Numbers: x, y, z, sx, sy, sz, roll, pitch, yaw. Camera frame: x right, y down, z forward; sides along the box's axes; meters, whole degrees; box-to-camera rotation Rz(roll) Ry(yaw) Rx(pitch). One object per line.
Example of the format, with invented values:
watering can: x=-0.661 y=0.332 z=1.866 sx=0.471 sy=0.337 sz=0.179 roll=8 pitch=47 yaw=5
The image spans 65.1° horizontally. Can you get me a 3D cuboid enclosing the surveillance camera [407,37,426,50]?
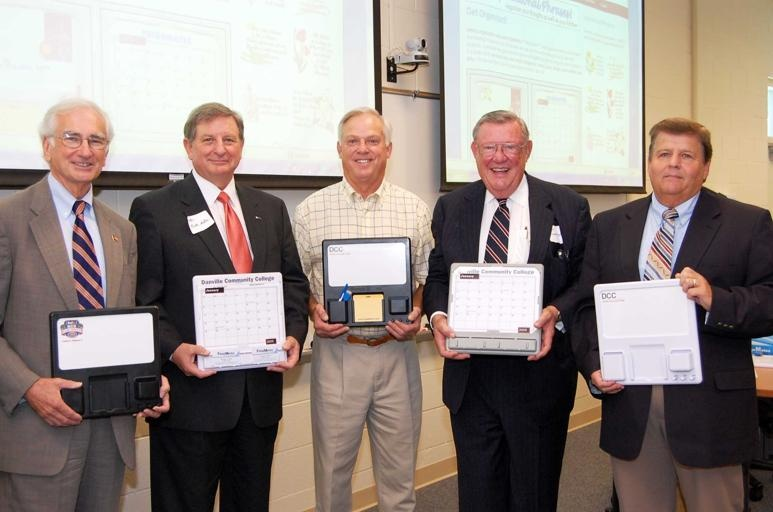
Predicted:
surveillance camera: x=0.212 y=-1.450 z=4.204 sx=0.111 sy=0.083 sz=0.089 roll=-1 pitch=8 yaw=22

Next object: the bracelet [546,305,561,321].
bracelet: x=0.814 y=0.278 z=2.941 sx=0.041 sy=0.044 sz=0.047 roll=-40 pitch=19 yaw=7

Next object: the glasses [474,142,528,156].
glasses: x=0.585 y=-0.537 z=3.068 sx=0.221 sy=0.063 sz=0.066 roll=0 pitch=13 yaw=7
